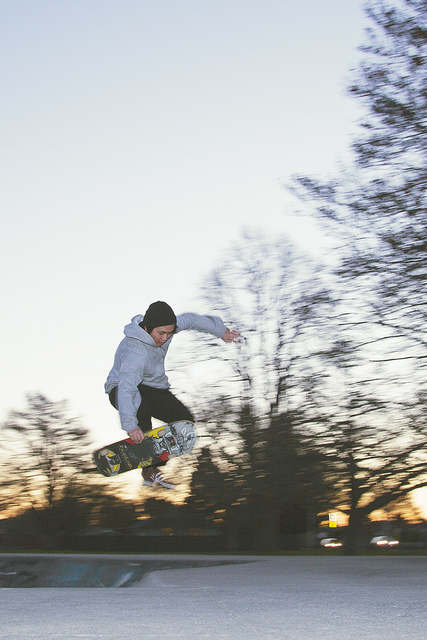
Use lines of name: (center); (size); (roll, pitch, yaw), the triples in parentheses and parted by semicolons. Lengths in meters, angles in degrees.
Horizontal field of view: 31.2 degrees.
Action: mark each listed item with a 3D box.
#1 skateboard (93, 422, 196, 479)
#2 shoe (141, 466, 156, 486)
skateboard: (-0.643, 1.262, 7.463); (1.077, 0.315, 0.139); (-22, -10, 17)
shoe: (-0.650, 1.565, 7.613); (0.099, 0.238, 0.178); (0, 26, -3)
